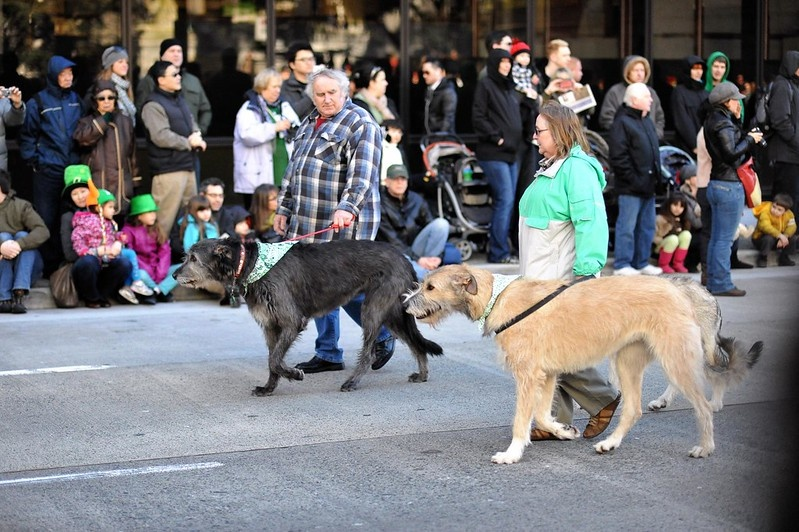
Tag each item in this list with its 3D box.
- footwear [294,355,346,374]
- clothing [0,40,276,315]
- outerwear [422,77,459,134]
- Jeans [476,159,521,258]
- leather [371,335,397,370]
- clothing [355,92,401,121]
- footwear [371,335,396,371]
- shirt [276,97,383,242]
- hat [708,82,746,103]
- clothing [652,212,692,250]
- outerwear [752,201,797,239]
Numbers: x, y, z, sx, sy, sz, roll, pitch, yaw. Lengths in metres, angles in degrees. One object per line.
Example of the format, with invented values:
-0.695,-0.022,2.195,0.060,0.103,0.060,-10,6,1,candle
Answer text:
-0.853,1.044,10.772,0.532,0.229,0.176,3,-2,-12,footwear
-3.781,-1.403,12.995,1.995,2.717,0.842,-2,9,-20,clothing
0.577,-2.405,15.326,0.468,0.920,1.050,-2,9,-15,outerwear
1.336,-0.763,14.315,0.509,1.426,0.342,2,8,7,Jeans
-0.141,0.890,10.643,0.163,0.426,0.184,30,10,34,leather
-0.399,-2.274,14.772,0.639,0.317,0.774,5,-2,40,clothing
-0.166,0.907,10.644,0.164,0.425,0.185,31,11,34,footwear
-0.716,-0.940,10.180,1.016,1.391,0.664,1,8,-1,shirt
4.143,-2.194,13.050,0.409,0.282,0.310,-3,9,-24,hat
3.833,-0.470,14.475,0.490,0.563,0.237,3,8,15,clothing
5.407,-0.628,15.234,0.590,0.657,0.677,2,11,3,outerwear
